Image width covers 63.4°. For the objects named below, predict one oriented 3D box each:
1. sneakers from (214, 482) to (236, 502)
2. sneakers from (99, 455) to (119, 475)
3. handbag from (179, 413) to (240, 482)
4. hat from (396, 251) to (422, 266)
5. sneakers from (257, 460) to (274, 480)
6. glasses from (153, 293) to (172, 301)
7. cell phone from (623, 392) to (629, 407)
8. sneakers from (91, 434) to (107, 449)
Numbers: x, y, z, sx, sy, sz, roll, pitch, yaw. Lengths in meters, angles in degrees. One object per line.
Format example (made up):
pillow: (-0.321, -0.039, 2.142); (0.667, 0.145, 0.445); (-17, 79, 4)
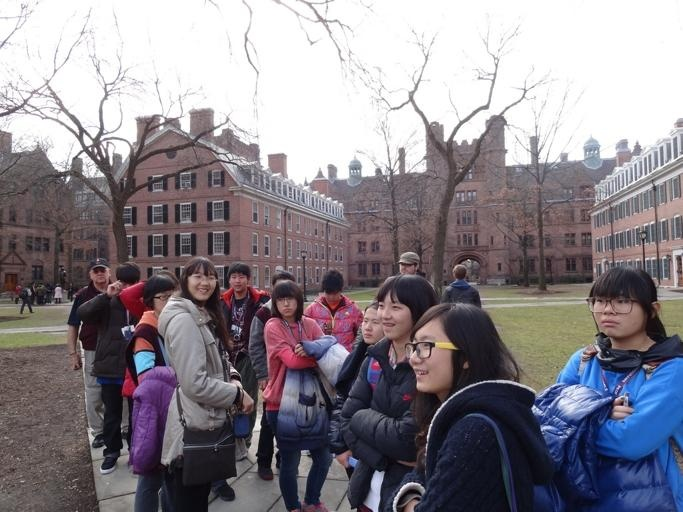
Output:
sneakers: (-1.155, 2.325, 5.515); (0.198, 0.156, 0.272); (0, -4, -26)
sneakers: (-2.537, 2.259, 6.052); (0.170, 0.157, 0.261); (0, -4, -24)
handbag: (-1.037, 1.473, 4.273); (0.458, 0.630, 0.299); (2, -28, -28)
hat: (1.109, 0.019, 8.613); (0.237, 0.188, 0.354); (2, -13, 34)
sneakers: (-0.804, 2.285, 5.919); (0.163, 0.164, 0.189); (-1, -3, -9)
glasses: (-1.651, 0.371, 5.118); (0.154, 0.069, 0.045); (-1, -3, -19)
cell phone: (1.829, 0.925, 3.558); (0.031, 0.079, 0.138); (-3, -4, 28)
sneakers: (-2.955, 2.234, 6.728); (0.133, 0.156, 0.194); (0, -4, -25)
